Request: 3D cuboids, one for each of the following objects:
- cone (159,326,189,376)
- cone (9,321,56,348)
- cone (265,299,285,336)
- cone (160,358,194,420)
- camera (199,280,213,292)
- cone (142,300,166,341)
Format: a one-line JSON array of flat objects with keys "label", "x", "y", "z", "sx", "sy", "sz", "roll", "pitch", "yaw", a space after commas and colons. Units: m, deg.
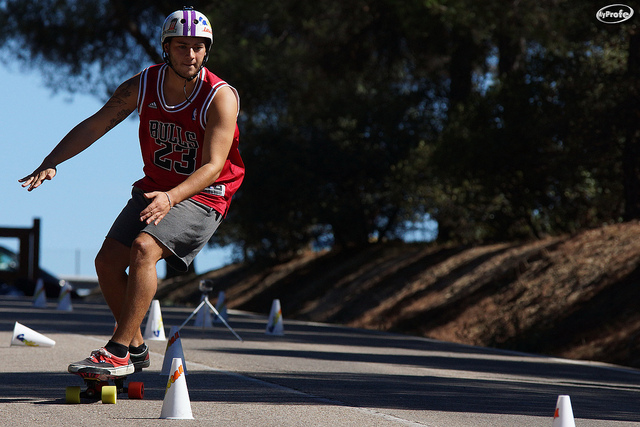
[{"label": "cone", "x": -2.189, "y": 2.071, "z": 14.794, "sx": 0.509, "sy": 0.720, "sz": 0.516, "roll": -2, "pitch": -4, "yaw": 1}, {"label": "cone", "x": -5.045, "y": 2.184, "z": 17.371, "sx": 0.659, "sy": 0.386, "sz": 0.417, "roll": 11, "pitch": 26, "yaw": -6}, {"label": "cone", "x": -0.952, "y": 2.156, "z": 20.491, "sx": 0.407, "sy": 0.756, "sz": 0.603, "roll": 2, "pitch": 2, "yaw": -4}, {"label": "cone", "x": -1.896, "y": 2.314, "z": 13.065, "sx": 0.443, "sy": 0.803, "sz": 0.198, "roll": 2, "pitch": 2, "yaw": -8}, {"label": "camera", "x": -2.373, "y": 1.493, "z": 20.397, "sx": 0.198, "sy": 0.227, "sz": 0.263, "roll": 0, "pitch": 6, "yaw": 38}, {"label": "cone", "x": -3.240, "y": 2.087, "z": 19.281, "sx": 0.441, "sy": 0.790, "sz": 0.697, "roll": 1, "pitch": 2, "yaw": -10}]
